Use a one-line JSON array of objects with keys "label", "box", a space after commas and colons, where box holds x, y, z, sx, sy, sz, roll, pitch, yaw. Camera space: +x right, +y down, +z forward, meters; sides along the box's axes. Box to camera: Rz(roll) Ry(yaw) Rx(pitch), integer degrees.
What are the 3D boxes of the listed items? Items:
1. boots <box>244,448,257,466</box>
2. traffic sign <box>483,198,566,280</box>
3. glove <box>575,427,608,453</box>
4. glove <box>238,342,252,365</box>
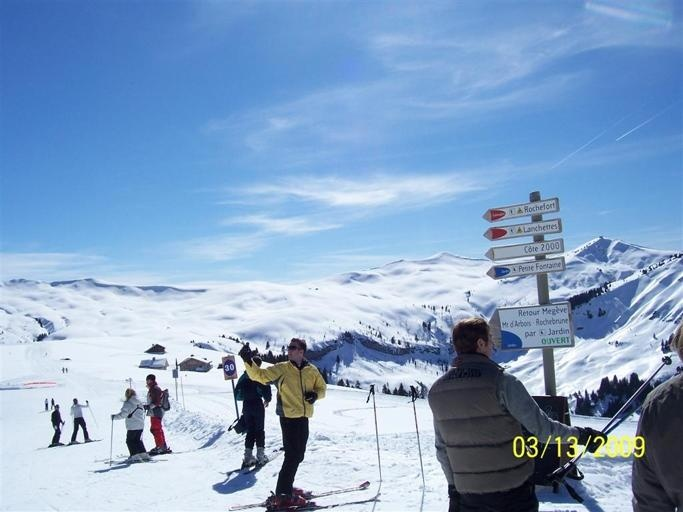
[{"label": "boots", "box": [-2.564, 5.497, 17.118, 0.350, 0.470, 0.176, -8, 2, -17]}, {"label": "traffic sign", "box": [4.153, -0.358, 14.040, 1.978, 1.924, 0.408, -3, 3, 9]}, {"label": "glove", "box": [3.796, 2.802, 9.594, 0.487, 0.178, 0.364, 21, -20, -7]}, {"label": "glove", "box": [-1.997, 2.022, 12.981, 0.277, 0.445, 0.517, -2, -8, -9]}]
